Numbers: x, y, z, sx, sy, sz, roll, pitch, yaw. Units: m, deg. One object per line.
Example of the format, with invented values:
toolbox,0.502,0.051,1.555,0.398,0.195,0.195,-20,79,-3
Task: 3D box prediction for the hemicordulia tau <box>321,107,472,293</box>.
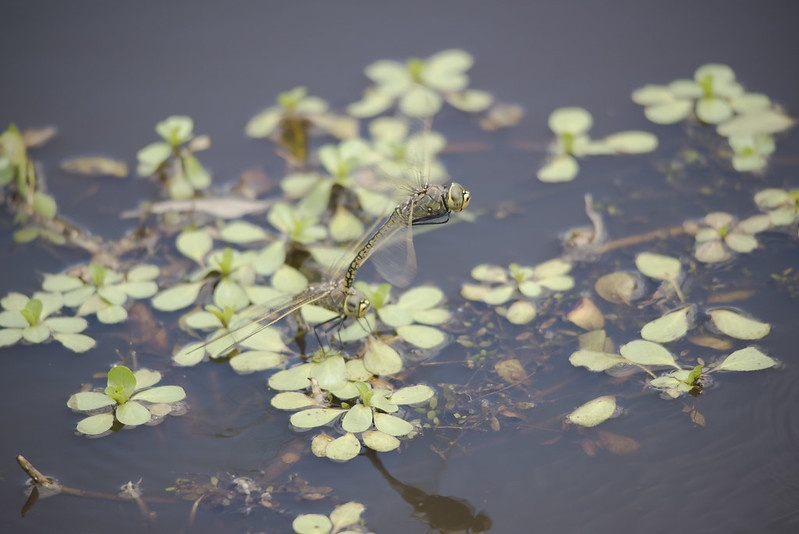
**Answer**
hemicordulia tau,0.014,-0.110,2.398,0.273,0.350,0.487,33,81,14
